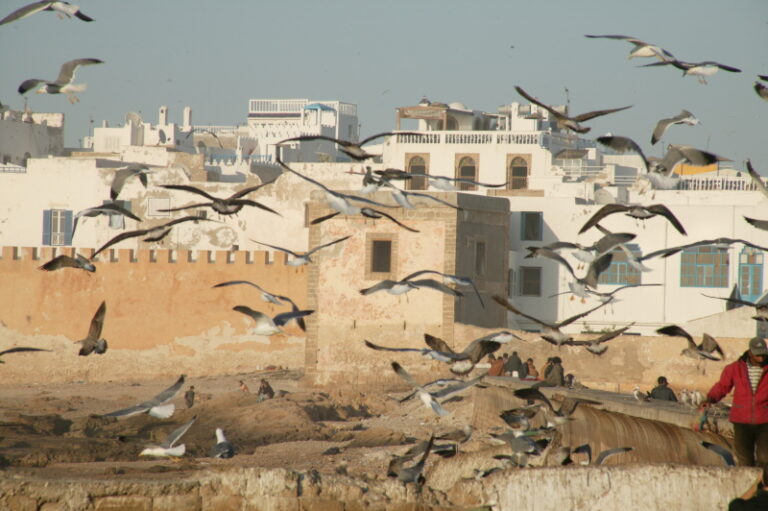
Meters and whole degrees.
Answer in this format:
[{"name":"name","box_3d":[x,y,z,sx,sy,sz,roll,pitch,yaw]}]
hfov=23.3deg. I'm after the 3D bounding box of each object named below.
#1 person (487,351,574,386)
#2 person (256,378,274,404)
[{"name":"person","box_3d":[4.922,3.668,60.633,2.365,1.430,0.947,0,-3,23]},{"name":"person","box_3d":[-4.255,4.933,66.354,0.342,1.102,0.602,-3,21,3]}]
